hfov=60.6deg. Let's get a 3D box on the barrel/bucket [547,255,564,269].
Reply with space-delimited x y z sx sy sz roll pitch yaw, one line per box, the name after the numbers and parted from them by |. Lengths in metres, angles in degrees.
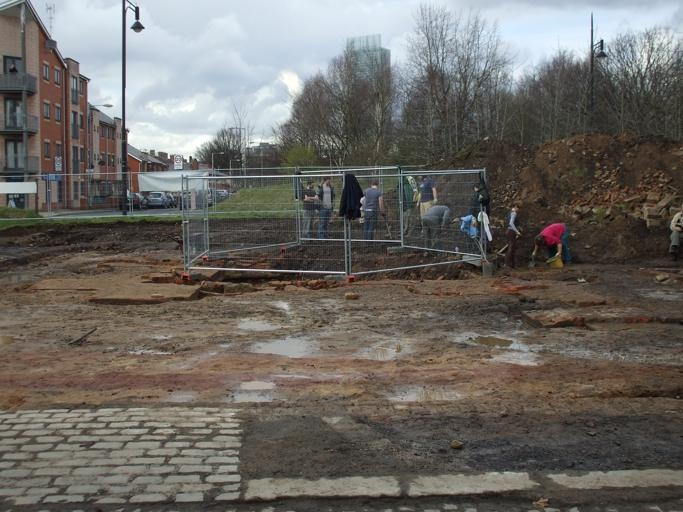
5.137 0.181 14.031 0.389 0.198 0.326 -6 1 11 | barrel/bucket
